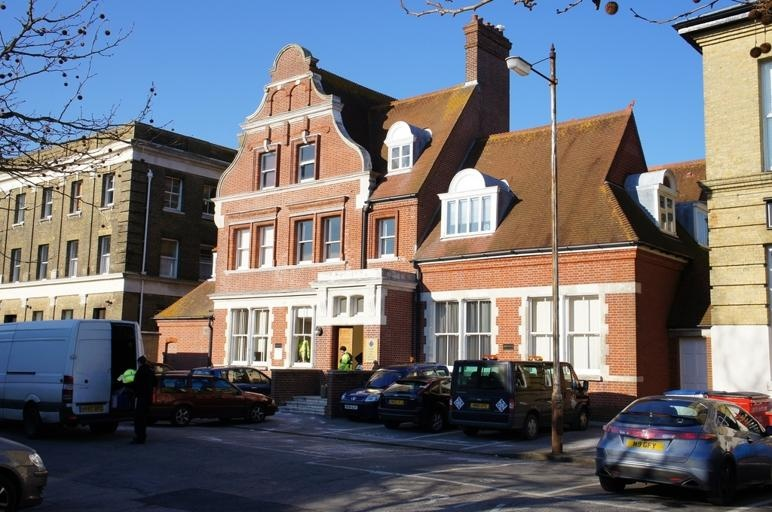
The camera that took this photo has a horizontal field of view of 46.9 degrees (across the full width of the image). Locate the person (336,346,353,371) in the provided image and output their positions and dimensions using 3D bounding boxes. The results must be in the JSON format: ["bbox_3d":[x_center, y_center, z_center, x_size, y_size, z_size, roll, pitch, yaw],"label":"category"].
[{"bbox_3d":[-1.755,4.387,38.073,0.607,1.535,1.038,-4,-9,15],"label":"person"}]

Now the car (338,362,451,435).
[{"bbox_3d":[0.475,5.388,32.647,3.258,2.236,3.934,-1,7,-17],"label":"car"}]

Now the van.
[{"bbox_3d":[4.798,4.895,30.862,4.469,1.789,2.647,5,-9,-38],"label":"van"}]
